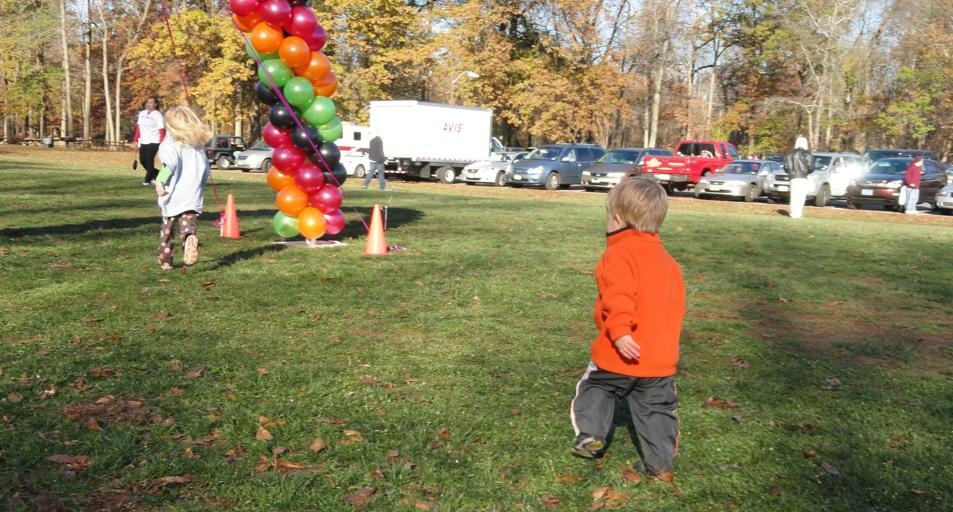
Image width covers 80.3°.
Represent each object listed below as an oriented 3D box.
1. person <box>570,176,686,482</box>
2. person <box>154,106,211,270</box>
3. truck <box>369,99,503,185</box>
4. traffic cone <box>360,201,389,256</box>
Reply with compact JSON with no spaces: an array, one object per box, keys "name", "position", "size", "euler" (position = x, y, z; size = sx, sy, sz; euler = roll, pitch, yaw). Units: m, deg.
[{"name":"person","position":[1.450,0.692,5.315],"size":[1.030,2.786,0.560],"euler":[2,11,10]},{"name":"person","position":[-4.699,-1.052,9.035],"size":[0.892,2.586,0.732],"euler":[-5,12,-27]},{"name":"truck","position":[-2.391,-6.265,31.747],"size":[7.589,3.273,3.910],"euler":[-5,10,-41]},{"name":"traffic cone","position":[-2.007,-0.555,11.065],"size":[0.430,0.935,1.218],"euler":[-2,10,-11]}]
